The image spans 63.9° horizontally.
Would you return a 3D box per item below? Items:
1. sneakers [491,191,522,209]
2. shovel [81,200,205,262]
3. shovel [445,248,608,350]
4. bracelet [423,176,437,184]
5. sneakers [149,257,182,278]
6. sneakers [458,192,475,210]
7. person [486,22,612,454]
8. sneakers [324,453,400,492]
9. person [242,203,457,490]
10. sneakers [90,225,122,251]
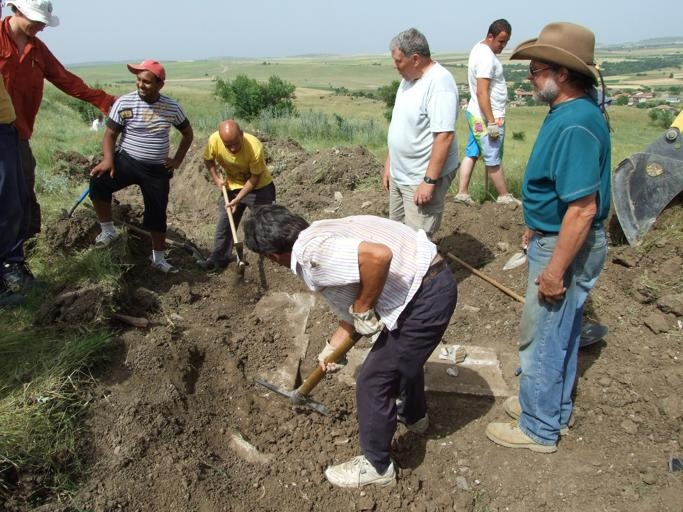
[{"bbox_3d":[2.230,-0.747,7.337,0.462,0.238,0.194,2,10,7],"label":"sneakers"},{"bbox_3d":[-2.600,-0.295,7.051,1.640,0.195,0.254,30,10,-19],"label":"shovel"},{"bbox_3d":[1.934,0.414,5.653,0.548,0.084,1.466,-46,45,-13],"label":"shovel"},{"bbox_3d":[0.865,-0.742,5.389,0.113,0.085,0.068,0,23,0],"label":"bracelet"},{"bbox_3d":[-2.216,0.143,6.888,0.372,0.162,0.157,18,34,-6],"label":"sneakers"},{"bbox_3d":[1.783,-0.770,7.723,0.362,0.171,0.134,8,13,-30],"label":"sneakers"},{"bbox_3d":[1.694,-0.051,4.353,0.712,3.285,0.903,2,23,7],"label":"person"},{"bbox_3d":[0.158,1.734,4.528,0.603,0.313,0.235,2,17,-1],"label":"sneakers"},{"bbox_3d":[0.155,0.717,4.279,1.393,2.247,0.628,3,23,8],"label":"person"},{"bbox_3d":[-2.777,-0.195,6.462,0.157,0.213,0.465,-1,9,0],"label":"sneakers"}]
